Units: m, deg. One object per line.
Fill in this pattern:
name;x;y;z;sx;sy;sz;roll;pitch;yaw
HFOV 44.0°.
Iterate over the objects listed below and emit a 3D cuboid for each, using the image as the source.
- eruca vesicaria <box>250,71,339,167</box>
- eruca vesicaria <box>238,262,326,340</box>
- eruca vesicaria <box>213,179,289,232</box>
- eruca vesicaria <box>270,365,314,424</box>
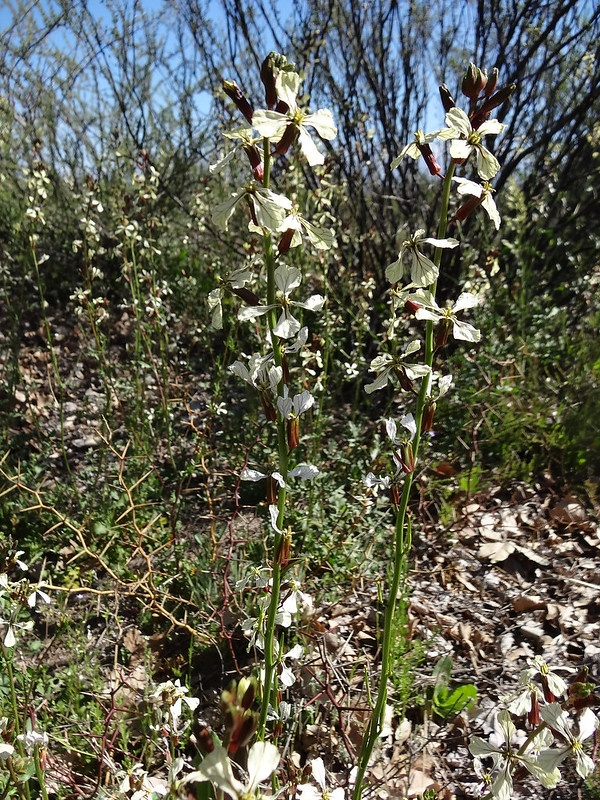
eruca vesicaria;-0.005;-0.608;1.613;0.140;0.203;0.283;3;13;28
eruca vesicaria;-0.054;-0.226;1.708;0.203;0.179;0.054;3;12;-27
eruca vesicaria;-0.095;-0.417;1.606;0.138;0.071;0.137;-20;24;-24
eruca vesicaria;-0.005;-0.015;1.717;0.115;0.110;0.115;-6;40;-21
